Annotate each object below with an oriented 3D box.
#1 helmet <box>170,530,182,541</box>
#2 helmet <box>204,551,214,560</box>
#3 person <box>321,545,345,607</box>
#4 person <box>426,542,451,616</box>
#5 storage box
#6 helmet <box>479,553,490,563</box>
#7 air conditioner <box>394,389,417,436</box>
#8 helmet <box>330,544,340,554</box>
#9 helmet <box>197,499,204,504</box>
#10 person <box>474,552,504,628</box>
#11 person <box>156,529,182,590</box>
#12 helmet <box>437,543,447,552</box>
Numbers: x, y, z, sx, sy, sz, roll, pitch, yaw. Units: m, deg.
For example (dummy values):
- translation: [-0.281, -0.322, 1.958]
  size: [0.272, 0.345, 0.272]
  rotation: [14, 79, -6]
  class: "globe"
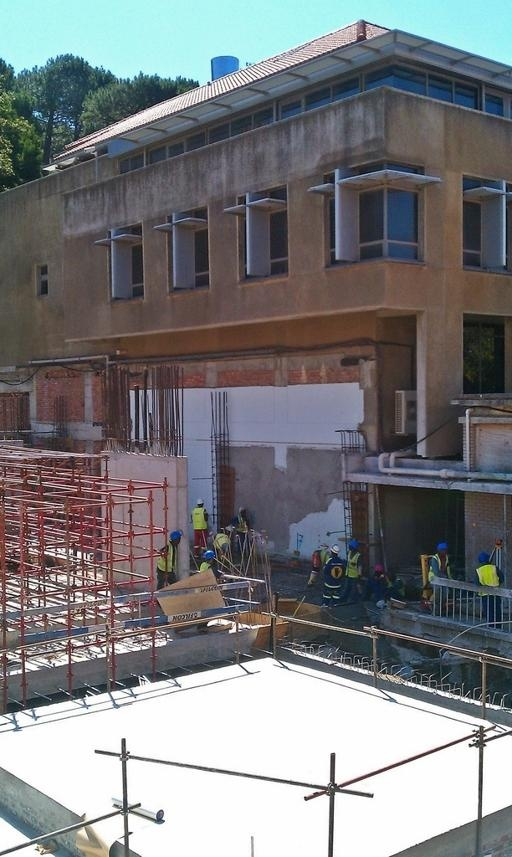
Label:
- translation: [-1.394, 1.829, 27.226]
  size: [0.203, 0.153, 0.379]
  rotation: [-2, -2, -4]
  class: "helmet"
- translation: [-0.757, 2.066, 25.661]
  size: [0.137, 0.114, 0.200]
  rotation: [-25, 14, -11]
  class: "helmet"
- translation: [1.384, 2.569, 28.234]
  size: [0.398, 1.394, 0.421]
  rotation: [-1, 39, -7]
  class: "person"
- translation: [3.141, 2.596, 27.381]
  size: [0.396, 1.189, 1.682]
  rotation: [-1, -2, 7]
  class: "person"
- translation: [0.360, 3.224, 26.325]
  size: [1.158, 0.621, 3.420]
  rotation: [-3, -2, 11]
  class: "storage box"
- translation: [3.803, 2.173, 26.546]
  size: [0.127, 0.194, 0.166]
  rotation: [-5, -4, 10]
  class: "helmet"
- translation: [3.005, -0.324, 31.765]
  size: [0.357, 0.898, 0.937]
  rotation: [-1, -2, -12]
  class: "air conditioner"
- translation: [1.403, 2.155, 28.554]
  size: [0.131, 0.194, 0.184]
  rotation: [0, -6, 3]
  class: "helmet"
- translation: [-1.175, 1.548, 33.158]
  size: [0.099, 0.114, 0.175]
  rotation: [4, 11, 12]
  class: "helmet"
- translation: [3.824, 2.647, 26.116]
  size: [0.408, 1.171, 1.030]
  rotation: [-1, -2, 8]
  class: "person"
- translation: [-1.473, 2.245, 26.991]
  size: [0.301, 1.266, 0.506]
  rotation: [8, 32, 0]
  class: "person"
- translation: [3.246, 2.112, 27.803]
  size: [0.130, 0.160, 0.173]
  rotation: [0, 7, 11]
  class: "helmet"
